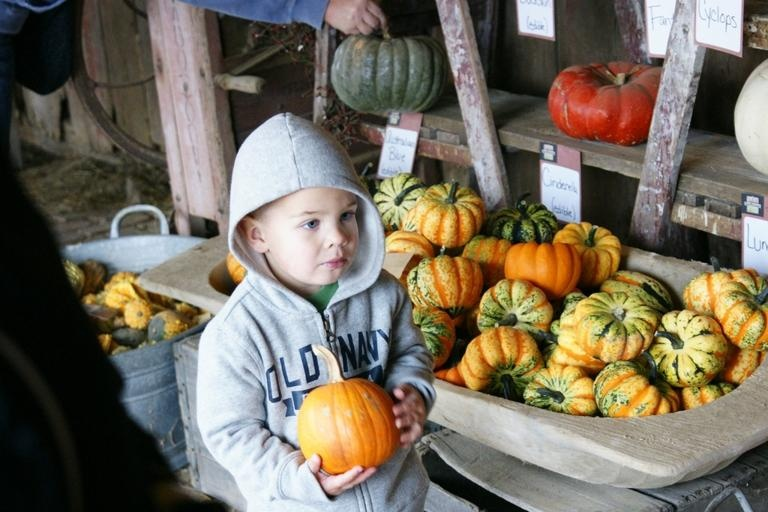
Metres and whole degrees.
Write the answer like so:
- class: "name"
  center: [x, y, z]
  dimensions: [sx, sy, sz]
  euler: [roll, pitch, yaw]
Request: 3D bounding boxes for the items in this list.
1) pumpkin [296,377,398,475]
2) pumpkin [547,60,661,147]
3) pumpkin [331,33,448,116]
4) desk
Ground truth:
- class: "pumpkin"
  center: [-0.080, 0.379, 1.416]
  dimensions: [0.239, 0.217, 0.246]
  euler: [-10, -2, 11]
- class: "pumpkin"
  center: [0.981, -0.656, 2.589]
  dimensions: [0.482, 0.229, 0.500]
  euler: [9, 41, 23]
- class: "pumpkin"
  center: [0.014, -0.953, 3.198]
  dimensions: [0.619, 0.409, 0.608]
  euler: [-12, 27, -26]
- class: "desk"
  center: [0.704, -0.341, 2.511]
  dimensions: [0.885, 0.459, 0.238]
  euler: [24, 36, 37]
